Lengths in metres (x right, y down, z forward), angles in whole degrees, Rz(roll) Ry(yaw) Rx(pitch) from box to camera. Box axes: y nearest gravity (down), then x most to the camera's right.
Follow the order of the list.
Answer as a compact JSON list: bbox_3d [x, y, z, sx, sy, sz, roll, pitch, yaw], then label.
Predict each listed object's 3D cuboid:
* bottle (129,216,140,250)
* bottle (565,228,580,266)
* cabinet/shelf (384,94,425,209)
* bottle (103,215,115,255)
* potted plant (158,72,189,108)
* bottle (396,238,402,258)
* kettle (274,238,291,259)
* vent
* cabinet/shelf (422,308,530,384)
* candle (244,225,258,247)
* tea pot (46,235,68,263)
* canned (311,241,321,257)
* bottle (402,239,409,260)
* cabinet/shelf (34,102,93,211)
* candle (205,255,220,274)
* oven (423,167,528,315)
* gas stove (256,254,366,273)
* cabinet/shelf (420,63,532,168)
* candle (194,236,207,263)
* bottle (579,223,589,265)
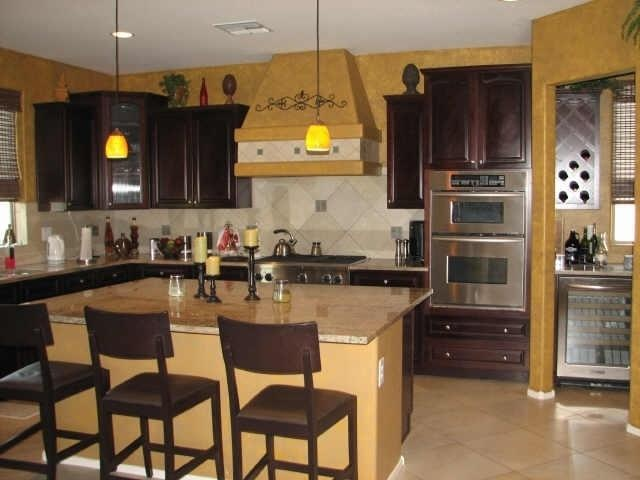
[{"bbox_3d":[-2.384,-0.069,7.291,0.115,0.396,0.375,-3,9,-18],"label":"bottle"},{"bbox_3d":[2.651,0.079,5.960,0.140,0.329,0.278,3,9,22],"label":"bottle"},{"bbox_3d":[0.898,-0.933,6.037,0.385,1.155,0.142,1,9,4],"label":"cabinet/shelf"},{"bbox_3d":[-2.623,-0.044,7.045,0.109,0.451,0.491,-3,9,-20],"label":"bottle"},{"bbox_3d":[-1.783,-1.782,6.922,0.395,0.414,0.214,1,7,-3],"label":"potted plant"},{"bbox_3d":[0.869,0.110,6.224,0.069,0.207,0.137,4,9,27],"label":"bottle"},{"bbox_3d":[-0.439,0.100,6.586,0.155,0.203,0.199,-1,-6,15],"label":"kettle"},{"bbox_3d":[-0.131,-1.425,6.525,1.636,1.416,0.922,2,7,23],"label":"vent"},{"bbox_3d":[1.634,0.834,5.996,1.175,0.834,0.654,0,0,17],"label":"cabinet/shelf"},{"bbox_3d":[-0.501,-0.011,4.113,0.093,0.136,0.164,-1,8,-9],"label":"candle"},{"bbox_3d":[-2.967,0.104,6.358,0.162,0.277,0.286,-4,9,-26],"label":"tea pot"},{"bbox_3d":[-0.042,0.117,6.553,0.127,0.131,0.137,0,-2,1],"label":"canned"},{"bbox_3d":[0.956,0.110,6.287,0.060,0.200,0.083,3,9,18],"label":"bottle"},{"bbox_3d":[-2.912,-0.942,6.526,0.664,1.205,0.324,-4,9,-26],"label":"cabinet/shelf"},{"bbox_3d":[-0.787,0.191,4.154,0.093,0.141,0.145,-2,9,-14],"label":"candle"},{"bbox_3d":[1.640,0.059,6.077,1.012,1.405,0.987,2,-8,3],"label":"oven"},{"bbox_3d":[-0.089,0.242,6.359,1.166,0.093,0.715,2,8,13],"label":"gas stove"},{"bbox_3d":[1.593,-1.224,5.635,1.031,0.993,0.409,0,2,16],"label":"cabinet/shelf"},{"bbox_3d":[-0.878,0.074,4.159,0.084,0.197,0.222,-2,9,-15],"label":"candle"},{"bbox_3d":[2.783,0.057,5.968,0.092,0.366,0.249,4,9,25],"label":"bottle"}]
